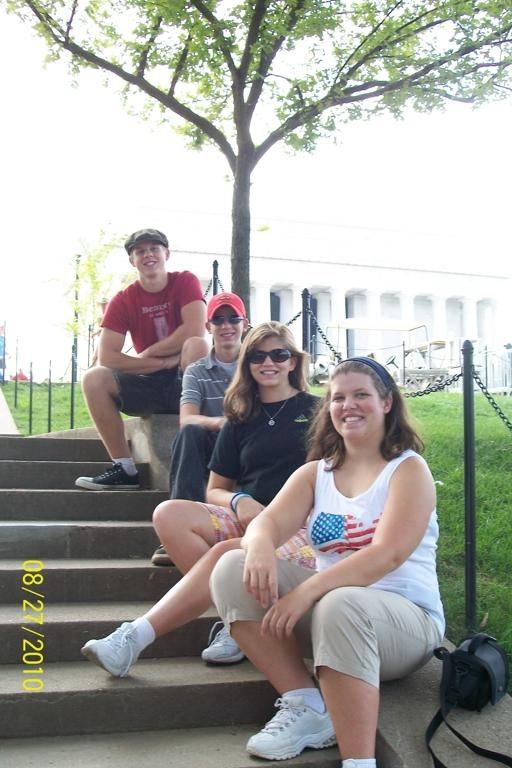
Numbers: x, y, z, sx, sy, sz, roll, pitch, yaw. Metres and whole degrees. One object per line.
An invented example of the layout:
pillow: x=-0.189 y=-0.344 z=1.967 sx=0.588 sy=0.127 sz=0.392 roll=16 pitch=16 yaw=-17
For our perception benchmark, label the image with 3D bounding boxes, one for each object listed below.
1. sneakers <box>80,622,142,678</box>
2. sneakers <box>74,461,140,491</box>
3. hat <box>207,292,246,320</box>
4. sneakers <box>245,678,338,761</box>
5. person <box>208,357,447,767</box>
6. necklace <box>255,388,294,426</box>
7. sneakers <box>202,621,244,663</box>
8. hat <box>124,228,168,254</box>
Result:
sneakers: x=-0.507 y=0.994 z=2.853 sx=0.139 sy=0.230 sz=0.229 roll=-2 pitch=2 yaw=27
sneakers: x=-0.941 y=0.544 z=4.615 sx=0.464 sy=0.189 sz=0.150 roll=5 pitch=-11 yaw=-21
hat: x=-0.182 y=-0.472 z=4.573 sx=0.254 sy=0.162 sz=0.383 roll=0 pitch=-4 yaw=-5
sneakers: x=0.125 y=1.126 z=2.584 sx=0.427 sy=0.193 sz=0.138 roll=7 pitch=-13 yaw=-34
person: x=0.245 y=0.567 z=2.694 sx=0.755 sy=1.310 sz=0.859 roll=-2 pitch=2 yaw=16
necklace: x=0.082 y=0.110 z=3.527 sx=0.229 sy=0.029 sz=0.245 roll=-2 pitch=39 yaw=20
sneakers: x=-0.116 y=1.084 z=3.214 sx=0.119 sy=0.139 sz=0.332 roll=-1 pitch=-18 yaw=7
hat: x=-0.740 y=-0.958 z=5.187 sx=0.279 sy=0.184 sz=0.228 roll=-2 pitch=1 yaw=-8
